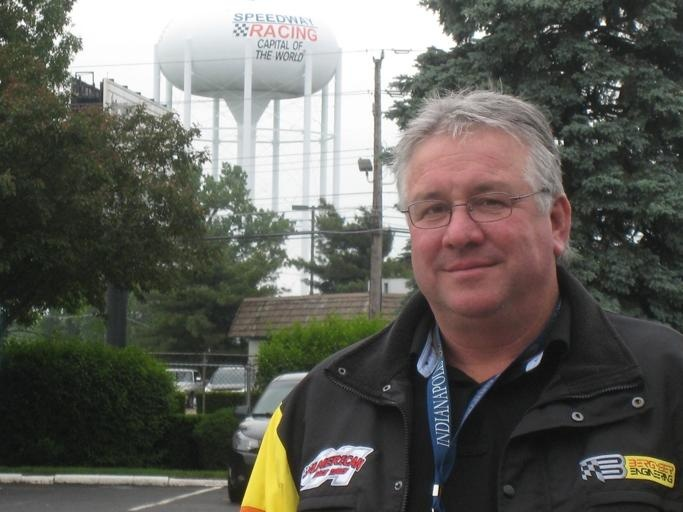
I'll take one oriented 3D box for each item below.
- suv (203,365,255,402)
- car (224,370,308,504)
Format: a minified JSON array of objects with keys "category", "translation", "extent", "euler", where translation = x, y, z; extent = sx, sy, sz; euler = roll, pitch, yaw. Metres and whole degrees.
[{"category":"suv","translation":[-3.751,4.033,39.508],"extent":[1.592,1.522,2.889],"euler":[-1,-11,0]},{"category":"car","translation":[-1.540,2.973,20.422],"extent":[1.334,1.549,3.060],"euler":[0,-7,2]}]
